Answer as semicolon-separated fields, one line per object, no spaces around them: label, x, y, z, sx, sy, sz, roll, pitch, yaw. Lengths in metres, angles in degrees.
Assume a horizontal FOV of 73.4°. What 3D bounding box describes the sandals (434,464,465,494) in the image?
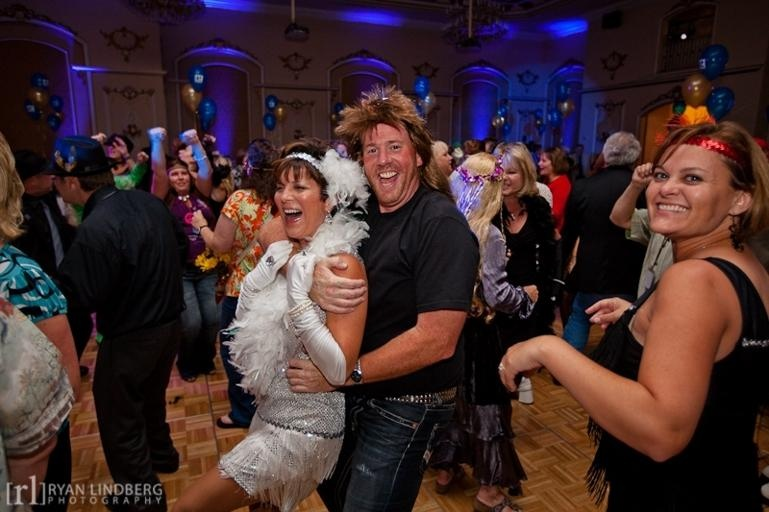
sandals;0.470;1.589;3.748;0.108;0.119;0.268;6;15;38

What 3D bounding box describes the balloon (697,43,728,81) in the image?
balloon;4.427;-2.629;6.968;0.293;0.432;0.253;6;12;28

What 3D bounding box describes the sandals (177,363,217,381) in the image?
sandals;-1.896;1.170;5.163;0.144;0.180;0.446;-10;-18;23

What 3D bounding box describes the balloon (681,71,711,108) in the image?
balloon;4.258;-2.273;7.067;0.366;0.475;0.388;1;-3;17

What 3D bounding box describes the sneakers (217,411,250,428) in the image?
sneakers;-1.316;1.409;4.385;0.327;0.094;0.117;5;21;-7

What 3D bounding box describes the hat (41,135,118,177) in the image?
hat;-2.006;-0.675;3.366;0.313;0.129;0.271;8;15;21
